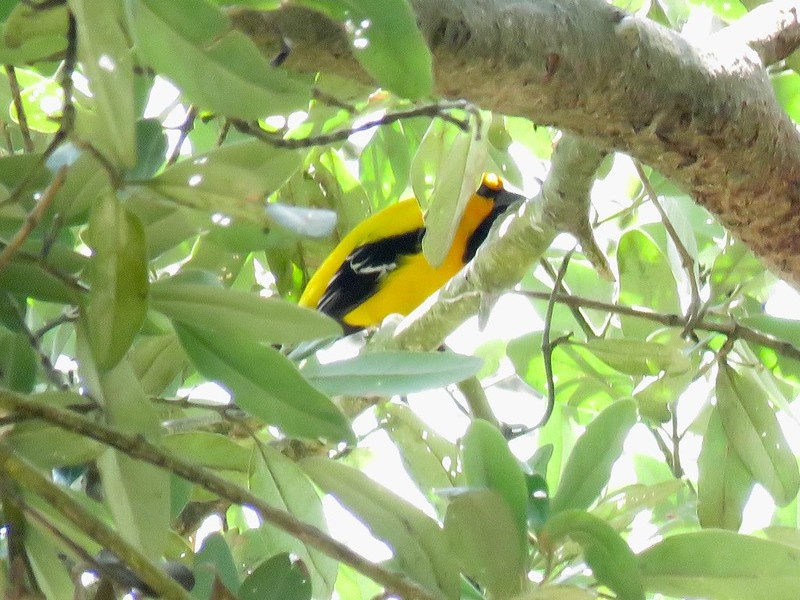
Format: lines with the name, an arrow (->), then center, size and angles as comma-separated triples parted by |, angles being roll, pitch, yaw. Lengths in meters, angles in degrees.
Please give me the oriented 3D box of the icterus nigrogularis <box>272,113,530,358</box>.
icterus nigrogularis -> -0.022, -0.088, 2.201 | 0.607, 0.271, 0.191 | -11, 1, 26
